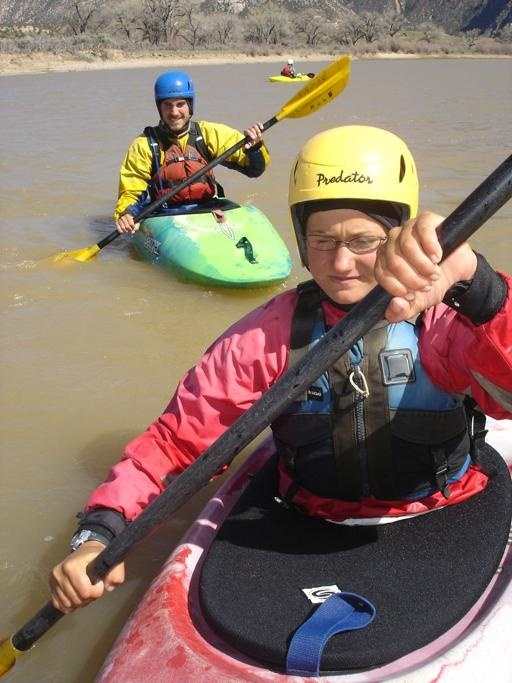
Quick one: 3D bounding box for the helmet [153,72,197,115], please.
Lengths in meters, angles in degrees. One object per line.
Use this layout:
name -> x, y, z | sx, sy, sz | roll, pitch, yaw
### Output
helmet -> -0.582, -1.841, 4.965 | 0.288, 0.288, 0.329 | -1, 17, -2

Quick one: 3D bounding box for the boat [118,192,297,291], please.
boat -> -0.302, -0.689, 4.469 | 0.553, 0.296, 1.036 | -15, 23, -26

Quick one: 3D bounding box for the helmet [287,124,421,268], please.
helmet -> 0.223, -0.377, 1.641 | 0.267, 0.276, 0.318 | -2, 9, 12

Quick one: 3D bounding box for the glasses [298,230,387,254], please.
glasses -> 0.192, -0.221, 1.512 | 0.179, 0.049, 0.069 | 9, 41, 15
